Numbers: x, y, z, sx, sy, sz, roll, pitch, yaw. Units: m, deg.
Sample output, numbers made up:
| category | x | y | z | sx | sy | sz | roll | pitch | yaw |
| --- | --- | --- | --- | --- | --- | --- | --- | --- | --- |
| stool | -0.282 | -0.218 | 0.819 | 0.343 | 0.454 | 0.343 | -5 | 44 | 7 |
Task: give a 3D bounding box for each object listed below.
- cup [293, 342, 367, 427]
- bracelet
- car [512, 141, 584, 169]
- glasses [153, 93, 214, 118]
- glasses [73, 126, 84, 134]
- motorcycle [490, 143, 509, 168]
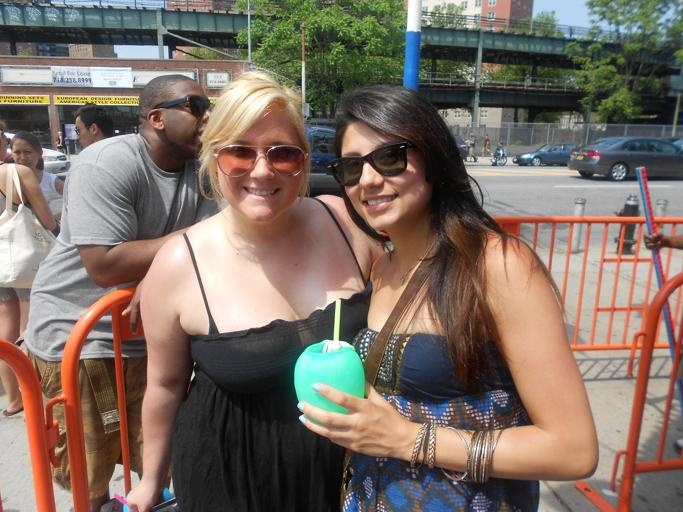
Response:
| category | x | y | z | sx | sy | sz | roll | pitch | yaw |
| --- | --- | --- | --- | --- | --- | --- | --- | --- | --- |
| cup | -0.080 | 0.528 | 2.378 | 0.257 | 0.319 | 0.261 | -2 | 4 | 0 |
| bracelet | 0.448 | 0.755 | 2.349 | 0.423 | 0.249 | 0.294 | 3 | 7 | -3 |
| car | 9.130 | -4.507 | 26.100 | 3.073 | 0.978 | 1.411 | 1 | 5 | -1 |
| glasses | -0.914 | -0.882 | 3.381 | 0.221 | 0.076 | 0.220 | -7 | 6 | -9 |
| glasses | -2.811 | -1.356 | 6.226 | 0.123 | 0.037 | 0.119 | 9 | 1 | -21 |
| motorcycle | 7.587 | -4.787 | 27.795 | 0.975 | 1.132 | 1.724 | -1 | 3 | -1 |
